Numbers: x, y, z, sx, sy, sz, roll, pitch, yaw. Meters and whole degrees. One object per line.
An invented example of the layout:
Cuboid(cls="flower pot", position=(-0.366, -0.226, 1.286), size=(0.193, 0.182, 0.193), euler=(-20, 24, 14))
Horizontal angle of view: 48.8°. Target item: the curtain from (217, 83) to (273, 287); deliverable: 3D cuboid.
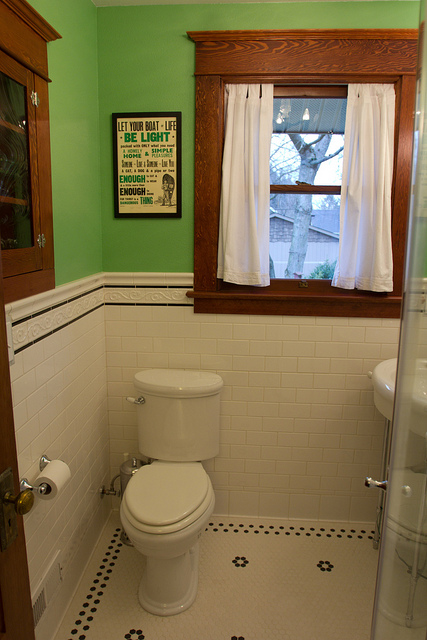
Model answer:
Cuboid(cls="curtain", position=(0.158, -0.626, 2.202), size=(0.224, 0.919, 0.070), euler=(2, 7, 10))

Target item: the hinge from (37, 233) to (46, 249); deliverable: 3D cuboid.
Cuboid(cls="hinge", position=(-0.564, -0.259, 1.546), size=(0.015, 0.051, 0.041), euler=(6, 22, 10))

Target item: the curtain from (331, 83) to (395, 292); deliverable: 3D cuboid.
Cuboid(cls="curtain", position=(0.711, -0.605, 2.174), size=(0.268, 0.936, 0.089), euler=(3, 8, 15))

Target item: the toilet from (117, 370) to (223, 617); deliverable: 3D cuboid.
Cuboid(cls="toilet", position=(-0.204, 0.707, 2.062), size=(0.491, 0.821, 0.797), euler=(1, 8, 1))
